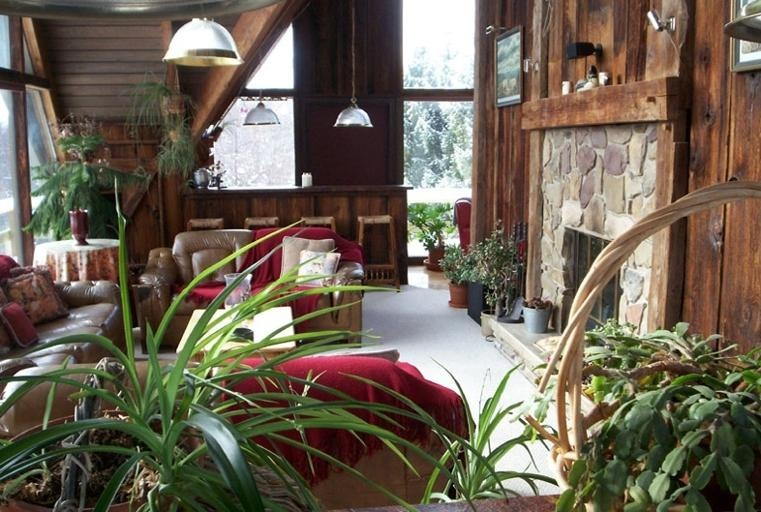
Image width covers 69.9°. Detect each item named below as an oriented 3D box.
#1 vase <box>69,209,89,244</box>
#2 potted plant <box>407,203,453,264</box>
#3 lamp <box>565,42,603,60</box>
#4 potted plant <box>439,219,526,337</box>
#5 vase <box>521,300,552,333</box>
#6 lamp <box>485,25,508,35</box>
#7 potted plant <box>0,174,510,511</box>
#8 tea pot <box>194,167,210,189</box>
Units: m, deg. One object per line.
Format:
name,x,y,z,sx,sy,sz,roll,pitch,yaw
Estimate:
vase,-2.821,-0.255,5.117,0.187,0.294,0.177,0,-2,-35
potted plant,0.739,-0.407,8.611,0.791,1.100,1.045,0,1,15
lamp,1.337,-1.377,3.623,0.207,0.109,0.154,-1,8,-12
potted plant,1.120,0.136,5.714,0.812,1.409,1.266,-3,7,-14
vase,1.282,0.505,4.535,0.300,0.246,0.291,-5,6,-43
lamp,1.132,-2.264,5.439,0.192,0.066,0.145,6,12,30
potted plant,-0.727,0.265,3.007,1.897,0.845,1.766,-1,10,-10
tea pot,-2.206,-0.975,6.813,0.187,0.235,0.227,7,14,6
